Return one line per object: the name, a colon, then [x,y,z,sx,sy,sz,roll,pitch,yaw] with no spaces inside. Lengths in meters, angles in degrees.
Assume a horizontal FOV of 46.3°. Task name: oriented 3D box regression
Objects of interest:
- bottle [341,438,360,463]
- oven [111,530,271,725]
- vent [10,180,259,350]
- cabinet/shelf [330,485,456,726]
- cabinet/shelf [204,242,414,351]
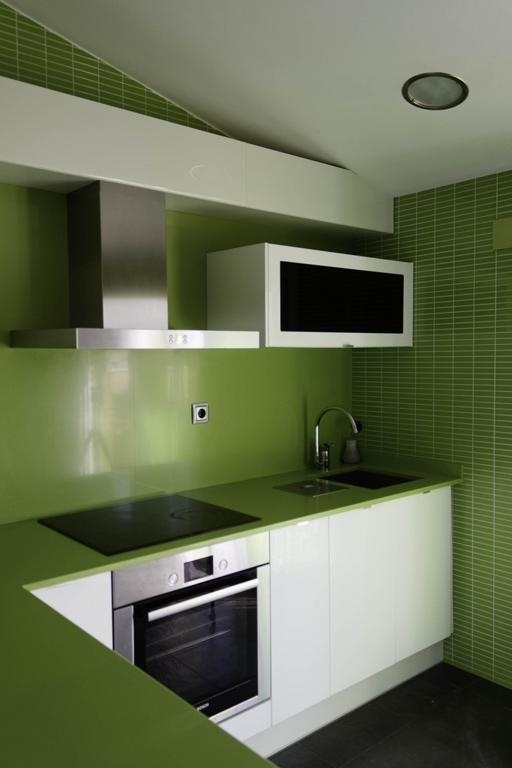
bottle: [0.510,0.368,3.268,0.117,0.142,0.106,5,-5,-34]
oven: [-0.251,0.778,1.967,0.529,0.560,0.353,-4,8,-35]
vent: [-0.402,-0.346,2.063,0.608,0.479,0.495,-3,5,-39]
cabinet/shelf: [0.480,0.817,2.693,0.792,0.820,0.406,-5,7,-31]
cabinet/shelf: [0.276,-0.336,2.724,0.853,0.422,0.375,0,-6,-28]
